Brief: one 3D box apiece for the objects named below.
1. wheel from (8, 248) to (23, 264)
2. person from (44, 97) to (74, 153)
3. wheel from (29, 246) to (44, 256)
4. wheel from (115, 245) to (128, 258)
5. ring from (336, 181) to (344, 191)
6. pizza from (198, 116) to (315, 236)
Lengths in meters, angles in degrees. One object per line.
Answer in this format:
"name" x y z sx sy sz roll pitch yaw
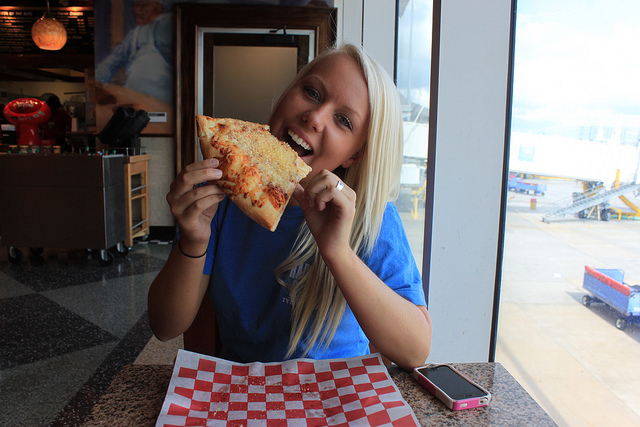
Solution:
"wheel" -3.484 0.476 5.160 0.136 0.169 0.129 2 11 0
"person" -4.685 -1.653 8.054 0.452 0.800 0.947 -4 12 -28
"wheel" -3.429 0.451 5.439 0.132 0.099 0.158 -5 13 -31
"wheel" -2.439 0.453 5.586 0.147 0.155 0.035 1 8 -3
"ring" 0.077 -0.113 1.853 0.040 0.027 0.005 0 1 -32
"pizza" -0.354 -0.210 1.995 0.528 0.144 0.457 35 51 -5
